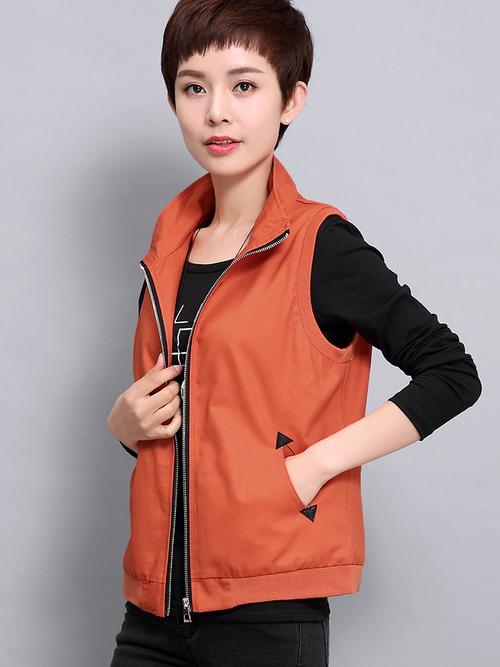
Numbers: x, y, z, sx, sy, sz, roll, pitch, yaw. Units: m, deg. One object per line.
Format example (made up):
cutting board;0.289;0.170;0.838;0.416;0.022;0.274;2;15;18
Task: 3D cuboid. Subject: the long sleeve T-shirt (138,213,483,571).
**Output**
long sleeve T-shirt;0.144;0.077;1.158;0.295;0.458;0.632;8;10;-46
